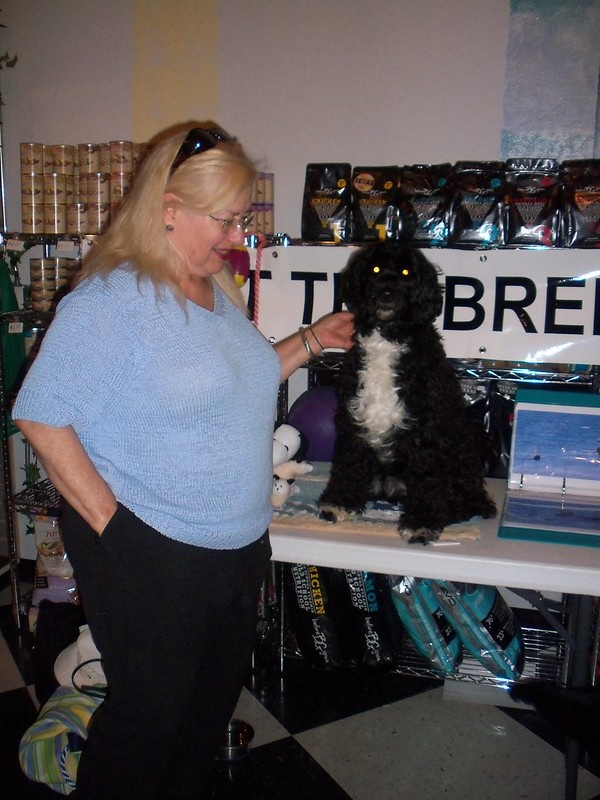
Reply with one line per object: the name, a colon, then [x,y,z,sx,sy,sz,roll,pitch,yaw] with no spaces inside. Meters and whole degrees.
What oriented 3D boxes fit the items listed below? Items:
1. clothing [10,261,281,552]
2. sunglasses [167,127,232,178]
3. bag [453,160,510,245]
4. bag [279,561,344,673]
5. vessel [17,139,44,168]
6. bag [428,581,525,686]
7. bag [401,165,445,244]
clothing: [-0.223,0.029,1.207,0.215,0.509,0.469,10,15,35]
sunglasses: [-0.163,-0.441,1.214,0.084,0.099,0.145,4,12,13]
bag: [0.544,-0.593,2.064,0.167,0.246,0.067,3,13,9]
bag: [0.094,0.739,2.422,0.097,0.356,0.232,-18,6,-43]
vessel: [-1.001,-0.915,2.562,0.102,0.096,0.098,4,5,28]
bag: [0.578,0.692,2.143,0.325,0.361,0.162,-1,13,-10]
bag: [0.388,-0.600,2.107,0.147,0.241,0.074,5,13,17]
